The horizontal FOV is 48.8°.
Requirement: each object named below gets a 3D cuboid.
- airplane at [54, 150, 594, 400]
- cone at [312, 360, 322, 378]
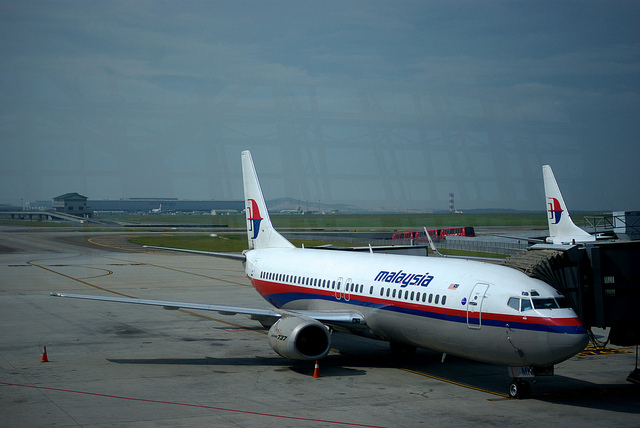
[{"bbox_3d":[1.703,3.290,27.876,18.121,3.479,14.740,-3,4,-28],"label":"airplane"},{"bbox_3d":[-0.102,5.695,26.097,0.347,0.533,0.555,1,6,0],"label":"cone"}]
